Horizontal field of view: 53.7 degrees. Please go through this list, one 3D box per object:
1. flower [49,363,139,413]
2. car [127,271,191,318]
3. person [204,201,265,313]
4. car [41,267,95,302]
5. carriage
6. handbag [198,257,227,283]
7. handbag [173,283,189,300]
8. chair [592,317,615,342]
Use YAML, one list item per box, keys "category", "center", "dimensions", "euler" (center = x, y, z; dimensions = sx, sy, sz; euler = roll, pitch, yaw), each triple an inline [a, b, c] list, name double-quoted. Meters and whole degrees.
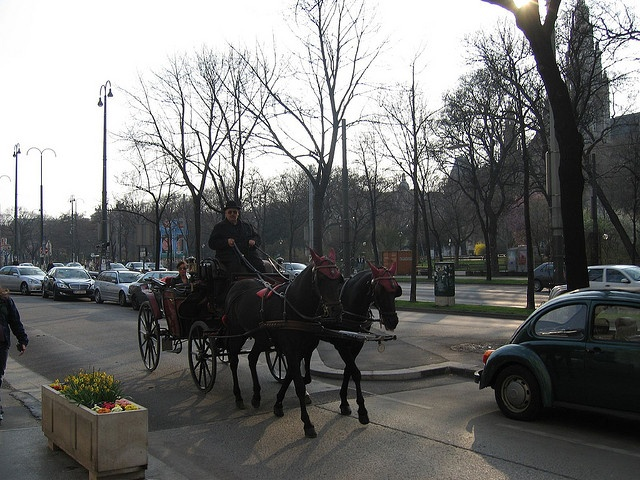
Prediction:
- category: "flower"
  center: [-3.067, 2.116, 8.669]
  dimensions: [0.801, 0.396, 0.778]
  euler: [25, -10, -25]
- category: "car"
  center: [-7.597, 2.808, 28.539]
  dimensions: [4.136, 2.419, 2.674]
  euler: [2, 1, 44]
- category: "person"
  center: [-1.722, 0.301, 13.540]
  dimensions: [1.096, 2.511, 1.116]
  euler: [8, -22, -43]
- category: "car"
  center: [-14.208, 2.513, 35.974]
  dimensions: [2.418, 1.950, 3.702]
  euler: [-2, -3, -29]
- category: "carriage"
  center: [-1.275, 1.753, 13.643]
  dimensions: [2.058, 4.295, 8.090]
  euler: [2, -3, -31]
- category: "handbag"
  center: [-2.241, 0.632, 13.278]
  dimensions: [0.442, 0.587, 0.471]
  euler: [1, 1, -19]
- category: "handbag"
  center: [-3.005, 1.137, 13.764]
  dimensions: [0.351, 0.382, 0.334]
  euler: [4, -5, -6]
- category: "chair"
  center: [4.436, 1.396, 9.997]
  dimensions: [0.259, 0.421, 0.315]
  euler: [0, -8, 9]
